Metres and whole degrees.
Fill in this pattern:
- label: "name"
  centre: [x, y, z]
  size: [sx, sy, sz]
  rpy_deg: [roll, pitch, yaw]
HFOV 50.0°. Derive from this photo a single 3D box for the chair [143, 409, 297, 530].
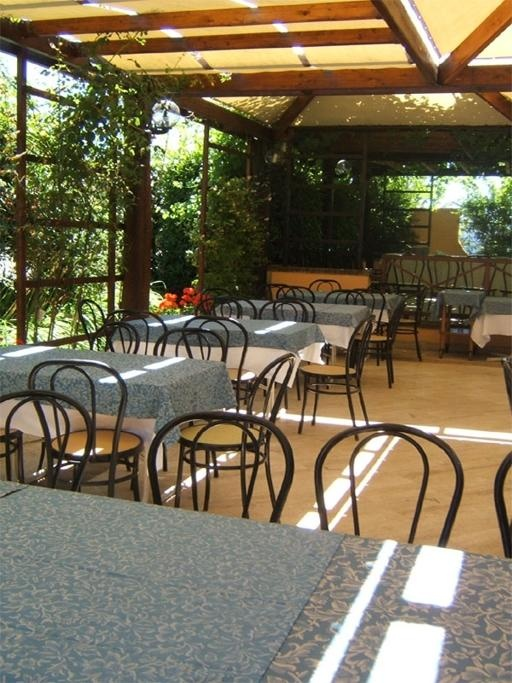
- label: "chair"
  centre: [-0.182, 0.572, 2.558]
  size: [0.523, 0.634, 0.417]
  rpy_deg: [-5, 2, -11]
